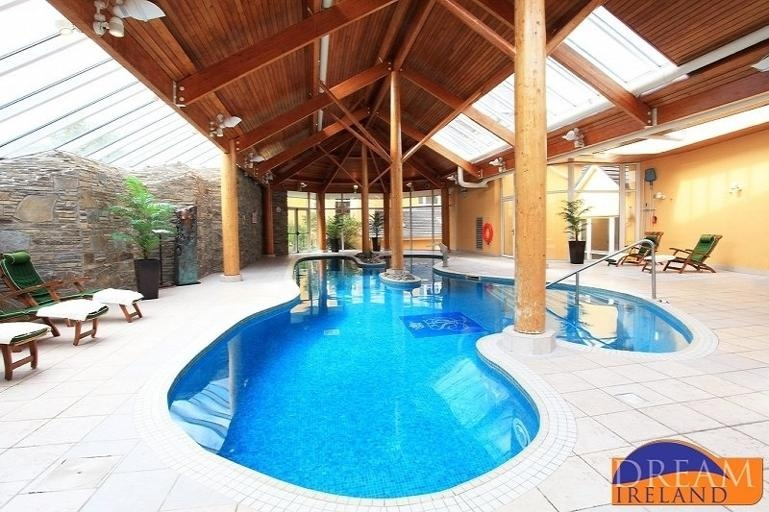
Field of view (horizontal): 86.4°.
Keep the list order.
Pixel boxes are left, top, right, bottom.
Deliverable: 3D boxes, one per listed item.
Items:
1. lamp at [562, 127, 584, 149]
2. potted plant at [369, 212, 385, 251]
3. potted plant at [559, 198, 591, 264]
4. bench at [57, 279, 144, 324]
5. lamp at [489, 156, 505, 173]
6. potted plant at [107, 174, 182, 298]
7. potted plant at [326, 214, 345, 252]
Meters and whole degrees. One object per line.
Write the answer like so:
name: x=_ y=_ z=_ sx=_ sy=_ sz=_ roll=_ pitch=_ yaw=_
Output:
lamp: x=4.818 y=-3.018 z=10.433 sx=0.449 sy=0.434 sz=0.533 roll=-8 pitch=-4 yaw=-38
potted plant: x=-0.383 y=-1.369 z=21.791 sx=0.740 sy=2.029 sz=1.367 roll=-3 pitch=16 yaw=-1
potted plant: x=6.056 y=-0.841 z=13.140 sx=0.762 sy=2.019 sz=1.858 roll=5 pitch=16 yaw=23
bench: x=-4.831 y=0.730 z=6.791 sx=1.554 sy=0.443 sz=0.707 roll=7 pitch=7 yaw=-1
lamp: x=3.870 y=-3.092 z=13.847 sx=0.198 sy=0.421 sz=0.473 roll=-6 pitch=18 yaw=-24
potted plant: x=-5.062 y=-0.407 z=8.788 sx=1.082 sy=2.560 sz=2.089 roll=-7 pitch=16 yaw=-17
potted plant: x=-2.500 y=-1.152 z=21.002 sx=0.751 sy=1.818 sz=1.239 roll=1 pitch=16 yaw=10
